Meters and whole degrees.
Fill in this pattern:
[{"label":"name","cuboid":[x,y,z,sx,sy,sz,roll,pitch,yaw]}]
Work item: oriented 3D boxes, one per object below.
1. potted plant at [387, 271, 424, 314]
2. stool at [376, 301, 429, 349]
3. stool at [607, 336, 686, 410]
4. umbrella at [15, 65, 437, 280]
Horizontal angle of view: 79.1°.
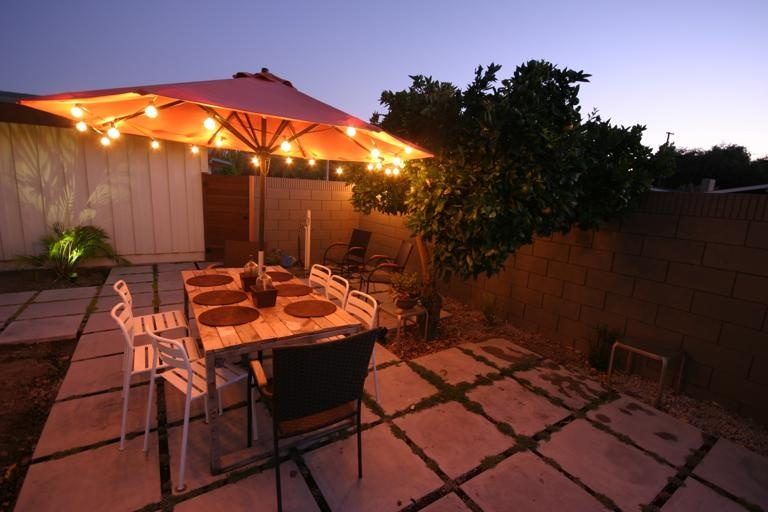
[{"label":"potted plant","cuboid":[0.380,0.570,7.602,0.579,0.600,0.546,2,10,14]},{"label":"stool","cuboid":[0.302,1.025,7.623,0.605,0.461,0.939,-7,15,-23]},{"label":"stool","cuboid":[3.744,1.597,6.683,0.878,0.734,0.878,-4,15,-24]},{"label":"umbrella","cuboid":[-2.104,-1.117,6.550,3.990,2.704,3.900,-4,6,-39]}]
